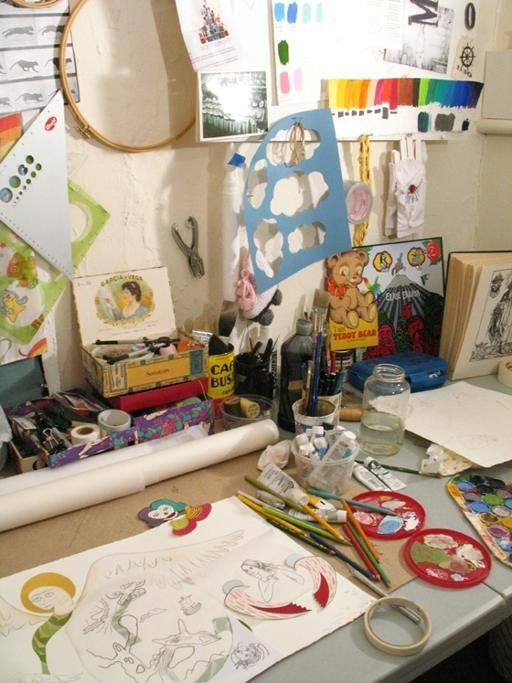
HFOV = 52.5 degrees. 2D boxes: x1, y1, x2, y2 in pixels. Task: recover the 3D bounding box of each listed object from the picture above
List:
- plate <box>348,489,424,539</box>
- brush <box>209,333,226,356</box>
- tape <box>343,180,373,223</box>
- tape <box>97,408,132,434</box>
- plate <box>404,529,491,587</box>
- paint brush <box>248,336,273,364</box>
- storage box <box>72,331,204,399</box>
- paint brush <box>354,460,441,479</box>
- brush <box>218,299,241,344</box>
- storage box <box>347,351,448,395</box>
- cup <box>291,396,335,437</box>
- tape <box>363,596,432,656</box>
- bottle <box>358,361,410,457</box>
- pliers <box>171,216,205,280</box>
[{"bbox_3d":[0.181,0.240,0.757,0.083,0.033,0.089,-18,28,-41],"label":"plate"},{"bbox_3d":[-0.074,0.009,0.989,0.035,0.031,0.042,-2,22,-3],"label":"brush"},{"bbox_3d":[0.229,-0.315,1.167,0.072,0.084,0.086,-9,22,-17],"label":"tape"},{"bbox_3d":[-0.228,0.128,0.842,0.039,0.030,0.041,3,30,-6],"label":"tape"},{"bbox_3d":[0.238,0.273,0.647,0.099,0.026,0.116,0,14,6],"label":"plate"},{"bbox_3d":[0.004,0.017,1.091,0.034,0.054,0.055,-11,26,-18],"label":"paint brush"},{"bbox_3d":[-0.194,0.024,0.897,0.176,0.060,0.106,-11,19,-38],"label":"storage box"},{"bbox_3d":[0.232,0.212,0.857,0.118,0.017,0.018,8,69,13],"label":"paint brush"},{"bbox_3d":[-0.061,-0.041,1.038,0.040,0.071,0.063,1,22,4],"label":"brush"},{"bbox_3d":[0.319,0.027,1.225,0.204,0.082,0.207,16,25,35],"label":"storage box"},{"bbox_3d":[0.101,0.127,0.872,0.064,0.063,0.068,1,4,0],"label":"cup"},{"bbox_3d":[0.145,0.294,0.537,0.067,0.025,0.075,9,24,23],"label":"tape"},{"bbox_3d":[0.232,0.120,0.951,0.087,0.152,0.083,1,12,0],"label":"bottle"},{"bbox_3d":[-0.124,-0.176,0.996,0.046,0.109,0.020,-31,28,-19],"label":"pliers"}]
